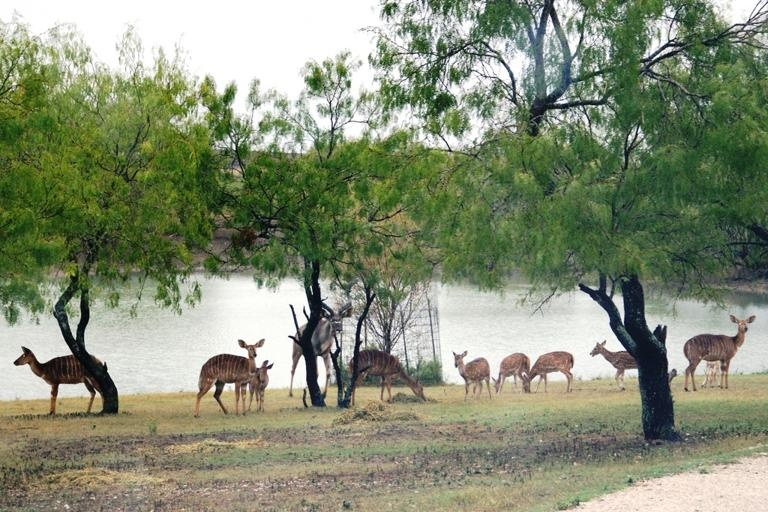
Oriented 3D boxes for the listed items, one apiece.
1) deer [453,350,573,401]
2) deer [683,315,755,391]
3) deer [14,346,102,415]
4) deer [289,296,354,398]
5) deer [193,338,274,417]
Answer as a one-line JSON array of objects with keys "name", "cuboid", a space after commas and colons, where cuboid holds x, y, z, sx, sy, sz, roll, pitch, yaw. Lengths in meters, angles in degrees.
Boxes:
[{"name": "deer", "cuboid": [5.610, 5.319, 60.712, 4.981, 2.580, 1.391, -2, -8, 9]}, {"name": "deer", "cuboid": [14.072, 4.104, 59.048, 2.736, 3.217, 3.443, -3, -6, 13]}, {"name": "deer", "cuboid": [-13.352, 5.117, 56.779, 2.960, 2.820, 1.513, -1, -6, -8]}, {"name": "deer", "cuboid": [-2.990, 4.248, 60.774, 1.418, 4.662, 5.058, 5, -6, -25]}, {"name": "deer", "cuboid": [-6.627, 4.784, 56.864, 2.346, 3.760, 4.069, 2, -4, -22]}]
